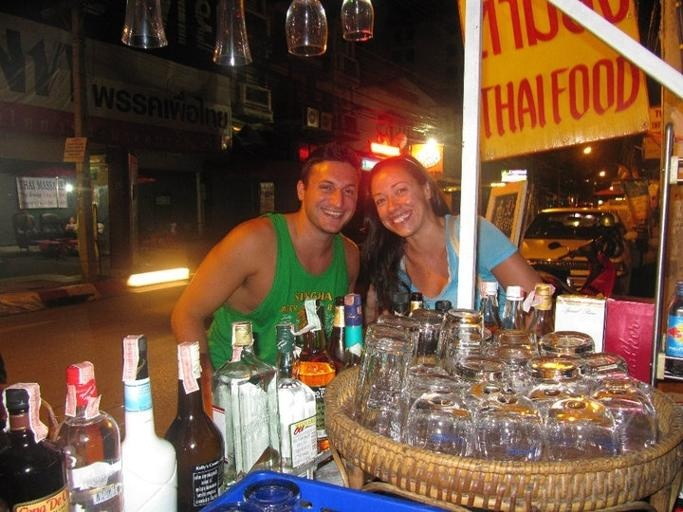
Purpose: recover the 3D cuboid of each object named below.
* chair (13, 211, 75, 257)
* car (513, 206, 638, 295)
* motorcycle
[{"bbox_3d":[-8.486,-0.651,14.992,1.606,1.146,3.368,-1,9,-33],"label":"chair"},{"bbox_3d":[2.936,-0.188,6.578,1.184,1.021,2.083,2,2,29],"label":"car"},{"bbox_3d":[2.761,-0.154,6.248,1.063,0.937,1.910,3,0,31],"label":"motorcycle"}]
